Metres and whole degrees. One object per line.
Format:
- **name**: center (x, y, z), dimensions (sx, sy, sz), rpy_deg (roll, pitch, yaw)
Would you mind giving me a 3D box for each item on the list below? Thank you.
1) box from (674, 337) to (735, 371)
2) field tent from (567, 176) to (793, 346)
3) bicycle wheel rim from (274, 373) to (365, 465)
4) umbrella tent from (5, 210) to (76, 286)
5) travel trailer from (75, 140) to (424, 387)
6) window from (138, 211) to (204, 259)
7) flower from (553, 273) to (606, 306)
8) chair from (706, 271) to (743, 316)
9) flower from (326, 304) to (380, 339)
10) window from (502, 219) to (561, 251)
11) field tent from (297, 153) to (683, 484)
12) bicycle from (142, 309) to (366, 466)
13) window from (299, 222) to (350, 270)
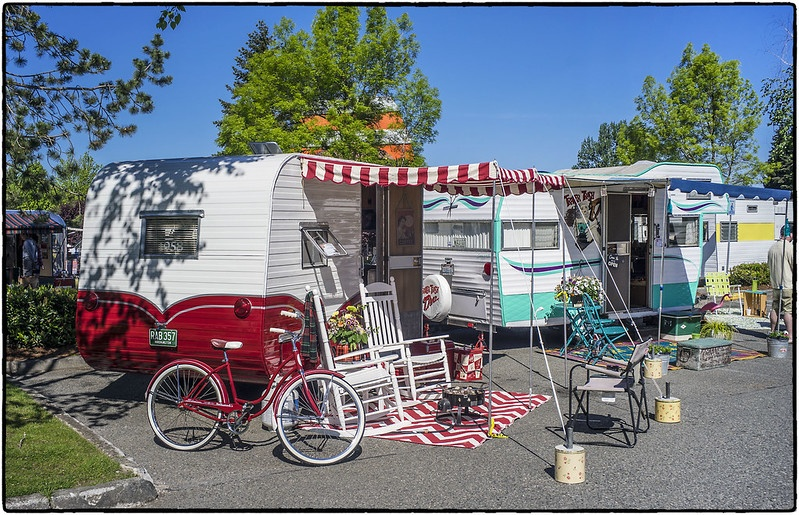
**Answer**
- **box**: center (5.663, 1.814, 11.697), dimensions (0.976, 0.441, 0.551), rpy_deg (-3, 8, -31)
- **field tent**: center (6.469, 0.153, 14.547), dimensions (4.873, 2.935, 2.844), rpy_deg (-1, 4, -32)
- **bicycle wheel rim**: center (-1.061, 2.107, 8.276), dimensions (1.192, 1.134, 0.655), rpy_deg (-1, 14, -4)
- **umbrella tent**: center (-11.342, -0.237, 19.540), dimensions (1.779, 2.501, 2.819), rpy_deg (-1, 2, -11)
- **travel trailer**: center (-2.907, -0.089, 10.244), dimensions (3.923, 2.760, 4.527), rpy_deg (1, 0, 30)
- **window**: center (-3.386, -0.323, 9.339), dimensions (0.768, 0.489, 0.103), rpy_deg (0, -5, 12)
- **flower**: center (3.650, 0.647, 12.507), dimensions (0.788, 0.411, 0.763), rpy_deg (0, 1, -30)
- **chair**: center (9.006, 1.068, 17.358), dimensions (0.939, 1.210, 0.959), rpy_deg (-4, -8, 44)
- **flower**: center (-0.829, 1.029, 9.797), dimensions (0.555, 0.337, 0.543), rpy_deg (0, -8, -37)
- **window**: center (2.674, -0.434, 12.541), dimensions (1.200, 0.606, 0.305), rpy_deg (2, 1, -18)
- **field tent**: center (1.679, 0.833, 12.033), dimensions (5.547, 3.335, 5.410), rpy_deg (2, -3, -32)
- **bicycle**: center (-2.025, 1.764, 8.576), dimensions (3.225, 1.839, 1.386), rpy_deg (2, -15, 12)
- **window**: center (-1.189, -0.175, 9.892), dimensions (0.552, 0.664, 0.690), rpy_deg (7, 16, 29)
